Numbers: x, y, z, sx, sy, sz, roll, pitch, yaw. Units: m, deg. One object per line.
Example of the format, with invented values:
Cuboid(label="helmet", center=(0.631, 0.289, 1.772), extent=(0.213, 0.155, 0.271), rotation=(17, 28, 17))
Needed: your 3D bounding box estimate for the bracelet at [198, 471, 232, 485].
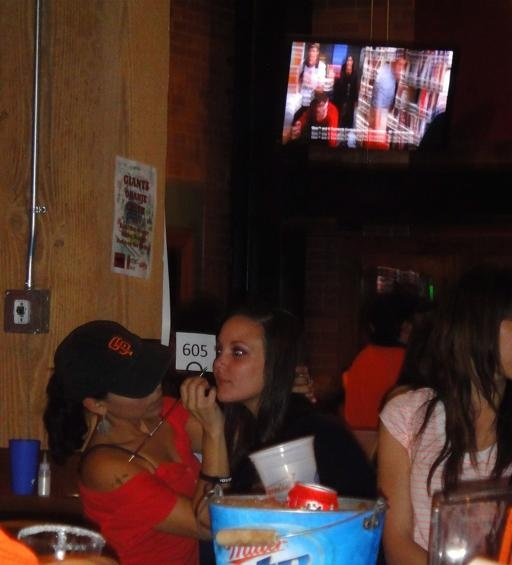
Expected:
Cuboid(label="bracelet", center=(-0.103, 0.500, 1.587), extent=(0.079, 0.032, 0.081), rotation=(4, 4, -7))

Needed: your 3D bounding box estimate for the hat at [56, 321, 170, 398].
Cuboid(label="hat", center=(-0.395, 0.192, 1.705), extent=(0.214, 0.162, 0.211), rotation=(2, 43, 0))

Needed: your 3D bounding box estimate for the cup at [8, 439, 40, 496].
Cuboid(label="cup", center=(-0.739, 0.582, 2.003), extent=(0.099, 0.197, 0.095), rotation=(3, 3, 0))

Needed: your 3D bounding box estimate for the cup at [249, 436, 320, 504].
Cuboid(label="cup", center=(0.053, 0.295, 1.024), extent=(0.081, 0.079, 0.093), rotation=(-18, -14, -22))

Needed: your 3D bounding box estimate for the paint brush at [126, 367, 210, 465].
Cuboid(label="paint brush", center=(-0.236, 0.475, 1.911), extent=(0.156, 0.085, 0.340), rotation=(-6, 38, 23))
